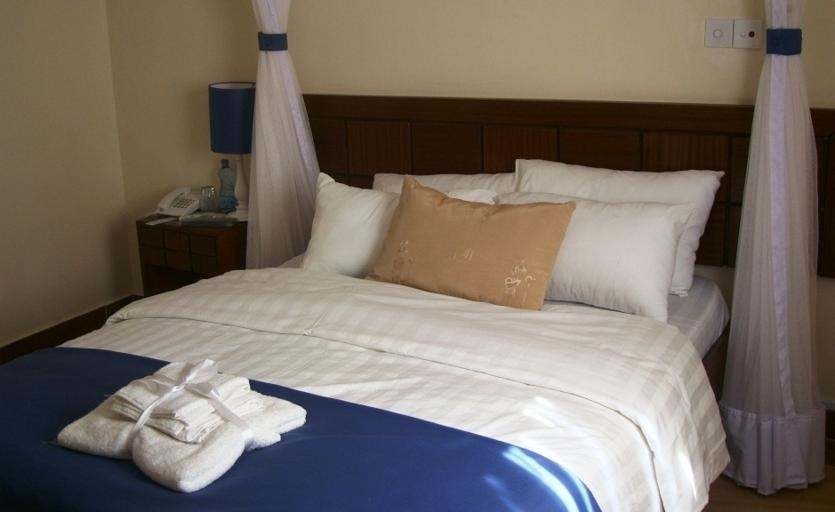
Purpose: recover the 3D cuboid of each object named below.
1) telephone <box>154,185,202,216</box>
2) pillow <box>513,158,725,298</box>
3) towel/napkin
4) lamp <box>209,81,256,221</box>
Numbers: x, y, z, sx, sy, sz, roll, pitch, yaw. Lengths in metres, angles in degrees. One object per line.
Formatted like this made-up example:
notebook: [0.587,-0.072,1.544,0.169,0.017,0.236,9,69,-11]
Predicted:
telephone: [-1.691,-0.369,4.272,0.211,0.106,0.276,7,38,32]
pillow: [1.144,-0.341,3.176,1.308,0.485,0.642,15,35,31]
towel/napkin: [-0.844,0.528,2.177,0.302,0.155,0.380,14,18,25]
lamp: [-1.258,-0.723,4.104,0.302,0.899,0.481,-3,17,-18]
